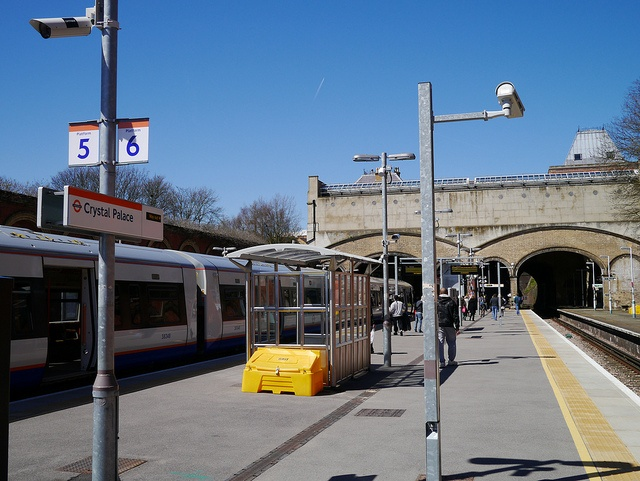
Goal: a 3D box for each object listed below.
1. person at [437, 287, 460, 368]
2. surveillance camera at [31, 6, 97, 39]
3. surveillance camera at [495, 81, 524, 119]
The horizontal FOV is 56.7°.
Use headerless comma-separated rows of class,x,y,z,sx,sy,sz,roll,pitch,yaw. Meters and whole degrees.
person,3.512,2.371,16.462,0.655,2.174,0.628,-1,-3,21
surveillance camera,-3.250,-2.761,7.547,0.786,0.387,0.145,-1,-4,-4
surveillance camera,2.615,-1.877,8.176,0.261,0.555,0.568,-4,-6,33
